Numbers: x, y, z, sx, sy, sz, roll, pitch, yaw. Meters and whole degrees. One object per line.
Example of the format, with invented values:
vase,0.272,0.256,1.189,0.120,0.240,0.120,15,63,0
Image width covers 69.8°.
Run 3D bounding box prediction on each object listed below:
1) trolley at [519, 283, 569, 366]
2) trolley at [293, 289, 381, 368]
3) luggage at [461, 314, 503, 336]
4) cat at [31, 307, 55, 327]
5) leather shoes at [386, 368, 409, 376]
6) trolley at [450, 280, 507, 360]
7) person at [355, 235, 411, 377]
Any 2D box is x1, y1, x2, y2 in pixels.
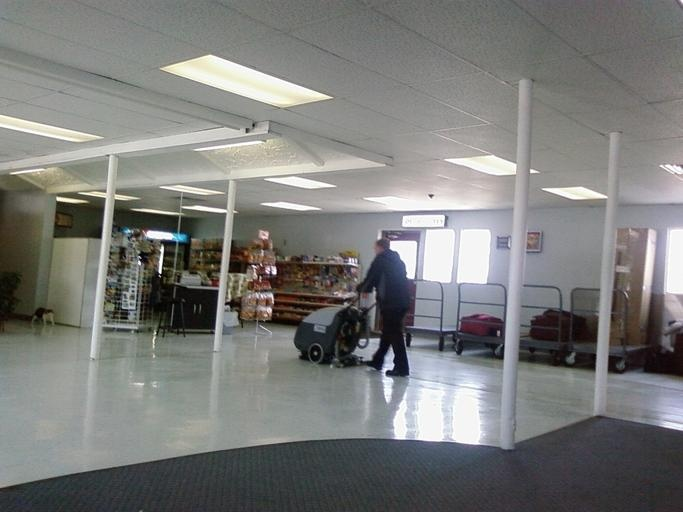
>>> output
trolley,4.598,1.534,10.982,1.238,1.480,2.073,-1,-3,27
trolley,-0.161,1.330,8.765,1.286,1.124,0.896,3,-3,33
luggage,3.285,1.588,11.224,0.590,0.224,0.580,3,-2,-21
cat,-7.620,1.502,12.264,0.896,0.473,0.318,-1,-2,27
leather shoes,0.891,1.889,7.967,0.365,0.145,0.133,5,-5,21
trolley,3.192,1.462,11.540,1.644,0.996,0.832,0,4,44
person,0.733,0.806,8.018,0.935,2.230,0.664,5,-2,-8
